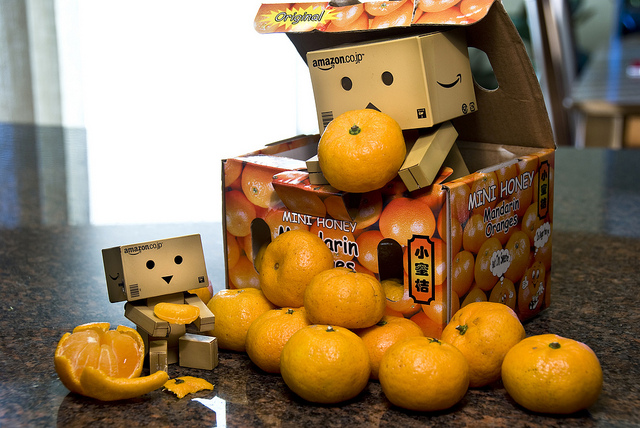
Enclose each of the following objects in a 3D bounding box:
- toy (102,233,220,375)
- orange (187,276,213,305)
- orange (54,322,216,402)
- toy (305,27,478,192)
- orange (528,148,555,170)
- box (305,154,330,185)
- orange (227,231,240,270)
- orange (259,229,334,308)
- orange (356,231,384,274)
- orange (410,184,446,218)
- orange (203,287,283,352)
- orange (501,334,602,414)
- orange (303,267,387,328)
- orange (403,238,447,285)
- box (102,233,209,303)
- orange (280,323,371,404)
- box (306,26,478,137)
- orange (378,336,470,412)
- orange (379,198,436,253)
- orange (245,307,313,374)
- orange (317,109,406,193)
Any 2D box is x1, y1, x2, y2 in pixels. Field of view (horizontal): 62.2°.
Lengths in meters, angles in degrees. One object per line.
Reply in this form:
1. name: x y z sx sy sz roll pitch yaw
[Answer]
1. toy: -0.349 0.200 1.177 0.184 0.282 0.212 1 4 36
2. orange: -0.292 0.189 1.315 0.060 0.058 0.059 -1 5 2
3. orange: -0.386 0.284 1.044 0.216 0.081 0.164 13 11 7
4. toy: 0.146 -0.254 1.283 0.366 0.312 0.358 -18 17 -37
5. orange: 0.560 -0.134 1.355 0.052 0.051 0.050 -7 -9 -3
6. box: -0.005 -0.098 1.188 0.062 0.038 0.060 0 11 9
7. orange: -0.226 0.098 1.373 0.044 0.077 0.062 -6 6 -10
8. orange: -0.048 0.126 1.227 0.186 0.177 0.186 -9 12 -20
9. orange: 0.109 0.086 1.193 0.086 0.096 0.084 -3 -8 -8
10. orange: 0.223 -0.024 1.125 0.071 0.068 0.066 0 -11 -2
11. orange: -0.180 0.234 1.245 0.146 0.100 0.147 0 -2 19
12. orange: 0.456 0.314 1.047 0.181 0.128 0.176 -4 1 0
13. orange: 0.064 0.190 1.125 0.160 0.111 0.154 -5 4 -6
14. orange: 0.202 0.105 1.124 0.098 0.108 0.094 0 -12 -9
15. box: -0.373 0.120 1.197 0.103 0.118 0.195 -10 -3 44
16. orange: 0.015 0.280 1.059 0.151 0.114 0.152 1 2 -3
17. box: 0.172 -0.345 1.297 0.348 0.217 0.193 9 35 46
18. orange: 0.200 0.284 1.022 0.140 0.098 0.142 -2 1 27
19. orange: 0.184 0.030 1.151 0.115 0.108 0.108 -1 -9 2
20. orange: -0.089 0.254 1.160 0.134 0.102 0.137 0 5 40
21. orange: 0.090 -0.136 1.137 0.188 0.160 0.129 -6 17 -2
